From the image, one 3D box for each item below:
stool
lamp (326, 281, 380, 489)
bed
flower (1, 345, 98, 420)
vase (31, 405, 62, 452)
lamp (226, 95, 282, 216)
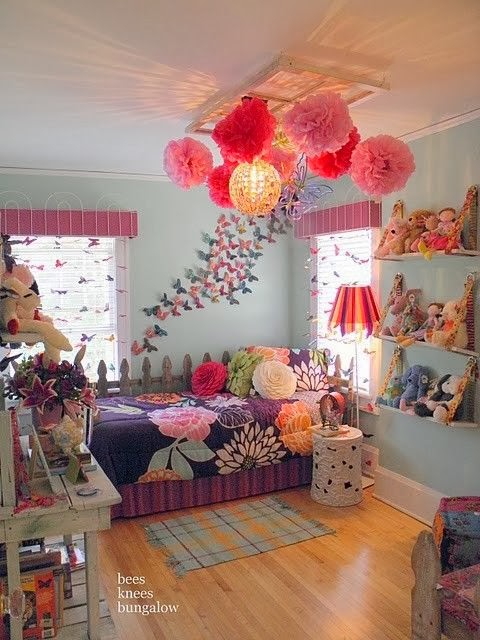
[{"bbox_3d":[0.669,1.005,3.465,0.346,0.499,0.267,0,2,8],"label":"stool"},{"bbox_3d":[0.834,0.131,3.701,0.244,0.810,0.233,0,6,-7],"label":"lamp"},{"bbox_3d":[-0.289,0.788,3.866,1.881,0.845,1.158,-3,8,-34],"label":"bed"},{"bbox_3d":[-0.762,0.237,2.077,0.335,0.235,0.369,-2,4,-28],"label":"flower"},{"bbox_3d":[-0.777,0.431,2.006,0.128,0.173,0.117,-6,-12,7],"label":"vase"},{"bbox_3d":[0.067,-0.648,2.022,0.209,0.440,0.199,-2,-4,-2],"label":"lamp"}]
